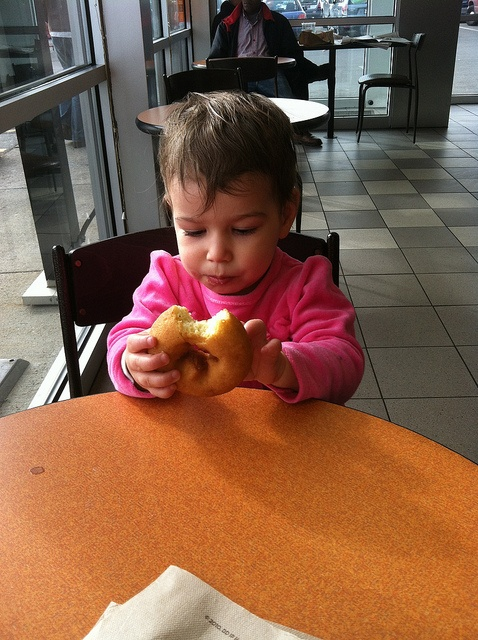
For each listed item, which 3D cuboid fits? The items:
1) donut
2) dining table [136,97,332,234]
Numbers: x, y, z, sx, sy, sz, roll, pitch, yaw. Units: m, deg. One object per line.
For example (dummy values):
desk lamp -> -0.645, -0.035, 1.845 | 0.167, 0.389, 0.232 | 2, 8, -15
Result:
donut -> -0.050, 0.035, 0.559 | 0.132, 0.105, 0.043 | 15, 32, 30
dining table -> 0.009, -0.719, 2.299 | 0.743, 0.483, 0.704 | -5, 37, -4
